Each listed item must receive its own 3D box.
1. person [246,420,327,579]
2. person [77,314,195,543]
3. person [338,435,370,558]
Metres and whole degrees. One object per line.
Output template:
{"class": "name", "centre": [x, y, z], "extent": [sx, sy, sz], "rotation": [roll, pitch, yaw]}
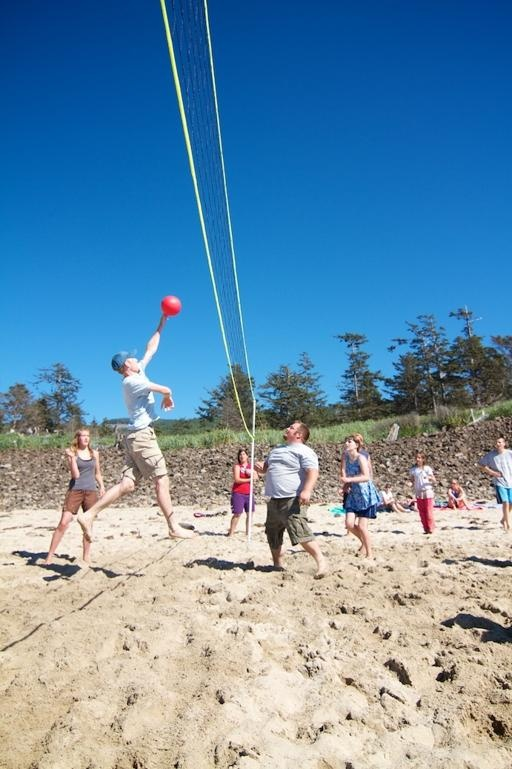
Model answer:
{"class": "person", "centre": [0.295, 1.036, 4.840], "extent": [0.555, 1.389, 0.882], "rotation": [-1, -1, -2]}
{"class": "person", "centre": [-1.002, 0.345, 4.484], "extent": [0.841, 1.894, 0.595], "rotation": [-1, -1, -10]}
{"class": "person", "centre": [1.061, 1.144, 5.560], "extent": [0.363, 0.810, 0.647], "rotation": [-1, -1, 12]}
